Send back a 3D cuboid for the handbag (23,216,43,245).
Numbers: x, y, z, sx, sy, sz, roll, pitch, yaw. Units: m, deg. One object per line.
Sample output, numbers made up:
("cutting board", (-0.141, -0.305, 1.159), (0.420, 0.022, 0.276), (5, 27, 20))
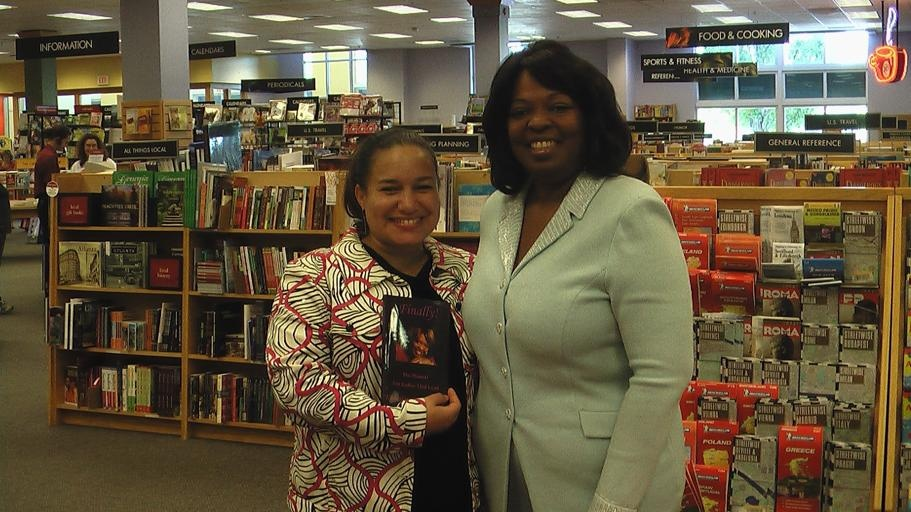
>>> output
("handbag", (-8.645, -0.510, 15.514), (0.473, 0.579, 0.191), (1, 9, 34))
